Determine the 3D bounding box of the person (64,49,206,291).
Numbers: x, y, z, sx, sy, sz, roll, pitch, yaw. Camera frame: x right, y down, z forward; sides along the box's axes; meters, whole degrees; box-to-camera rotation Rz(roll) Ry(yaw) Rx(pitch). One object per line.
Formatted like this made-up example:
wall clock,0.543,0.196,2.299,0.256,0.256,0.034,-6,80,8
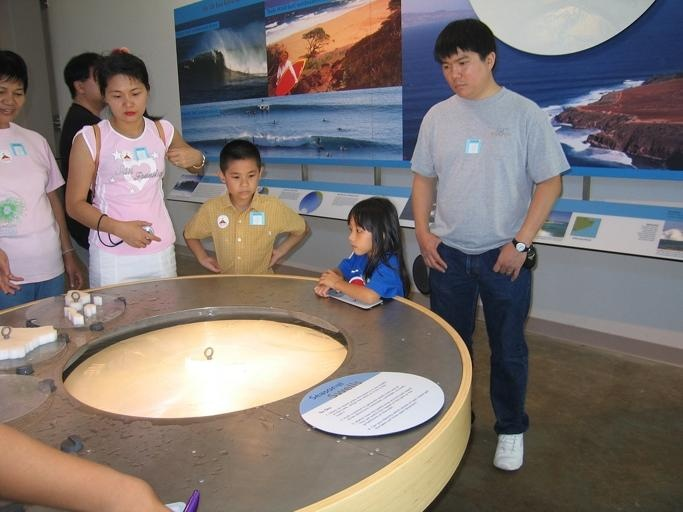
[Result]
person,-0.941,-0.355,2.099,0.517,1.026,0.537,5,19,9

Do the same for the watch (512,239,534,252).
watch,0.725,-0.035,1.917,0.056,0.032,0.060,9,-5,17

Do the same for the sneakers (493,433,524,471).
sneakers,0.783,0.873,2.203,0.113,0.108,0.307,-3,4,32

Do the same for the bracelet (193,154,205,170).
bracelet,-0.672,-0.450,2.279,0.058,0.064,0.026,-6,11,-9
